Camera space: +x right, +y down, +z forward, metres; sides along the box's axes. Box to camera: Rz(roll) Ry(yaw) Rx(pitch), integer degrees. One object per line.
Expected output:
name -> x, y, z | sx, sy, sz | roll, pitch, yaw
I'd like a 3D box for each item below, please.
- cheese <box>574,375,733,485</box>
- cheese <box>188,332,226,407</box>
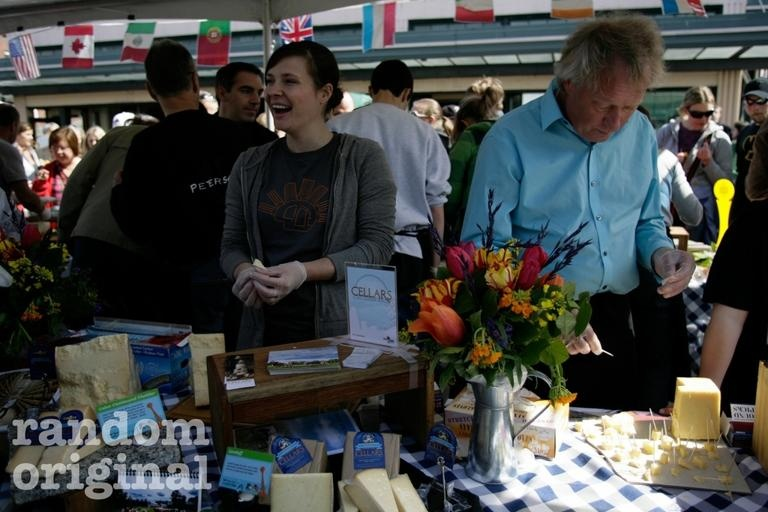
cheese -> 1.120, 0.665, 2.386 | 0.626, 0.192, 0.763 | -3, 6, 38
cheese -> -0.742, 0.463, 2.472 | 0.219, 0.251, 0.162 | -2, 11, -17
